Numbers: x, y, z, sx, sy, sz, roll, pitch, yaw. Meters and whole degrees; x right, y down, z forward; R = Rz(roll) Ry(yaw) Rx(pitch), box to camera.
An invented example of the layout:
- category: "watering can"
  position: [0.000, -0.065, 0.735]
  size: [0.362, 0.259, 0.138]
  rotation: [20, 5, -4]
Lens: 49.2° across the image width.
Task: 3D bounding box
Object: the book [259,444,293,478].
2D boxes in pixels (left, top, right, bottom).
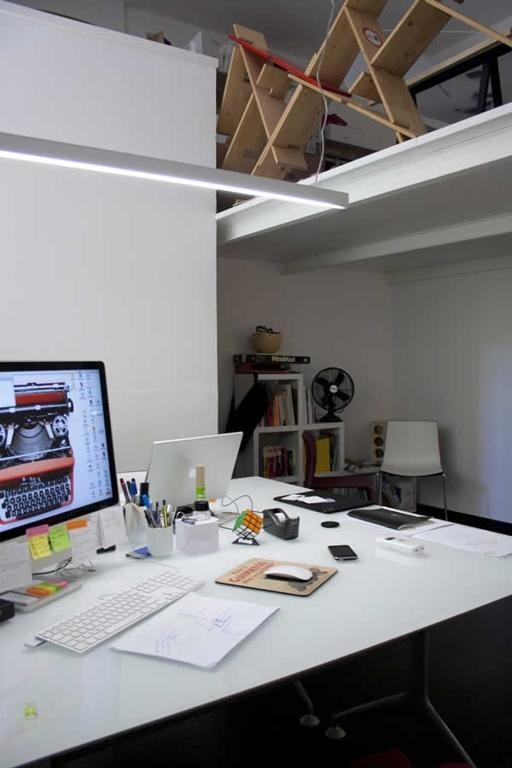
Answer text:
- category: "book"
  position: [0.150, 0.586, 4.218]
  size: [0.136, 0.255, 0.257]
  rotation: [4, 6, 44]

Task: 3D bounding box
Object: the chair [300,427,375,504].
- category: "chair"
  position: [0.662, 0.664, 4.607]
  size: [0.570, 0.762, 0.536]
  rotation: [-2, 3, -4]

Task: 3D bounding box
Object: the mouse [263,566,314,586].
- category: "mouse"
  position: [0.076, 0.415, 1.234]
  size: [0.067, 0.016, 0.041]
  rotation: [3, 0, 27]

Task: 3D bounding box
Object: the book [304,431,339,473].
- category: "book"
  position: [0.525, 0.554, 4.478]
  size: [0.183, 0.329, 0.332]
  rotation: [-2, 2, -16]

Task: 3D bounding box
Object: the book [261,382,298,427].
- category: "book"
  position: [0.143, 0.181, 4.432]
  size: [0.264, 0.456, 0.463]
  rotation: [1, 0, -12]

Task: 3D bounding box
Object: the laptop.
- category: "laptop"
  position: [-0.209, 0.259, 1.731]
  size: [0.332, 0.227, 0.212]
  rotation: [-3, 14, -42]
